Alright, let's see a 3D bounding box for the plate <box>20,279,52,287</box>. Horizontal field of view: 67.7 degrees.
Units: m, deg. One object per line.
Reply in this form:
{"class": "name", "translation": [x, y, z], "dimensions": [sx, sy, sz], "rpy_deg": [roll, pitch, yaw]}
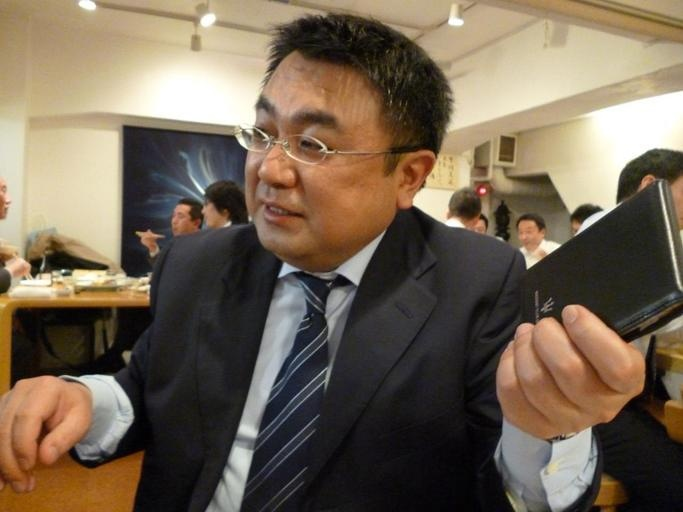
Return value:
{"class": "plate", "translation": [-1.950, 0.173, 3.282], "dimensions": [0.136, 0.034, 0.141], "rpy_deg": [0, -3, 22]}

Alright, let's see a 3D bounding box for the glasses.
{"class": "glasses", "translation": [-0.055, -0.263, 1.180], "dimensions": [0.461, 0.125, 0.178], "rpy_deg": [0, 3, 8]}
